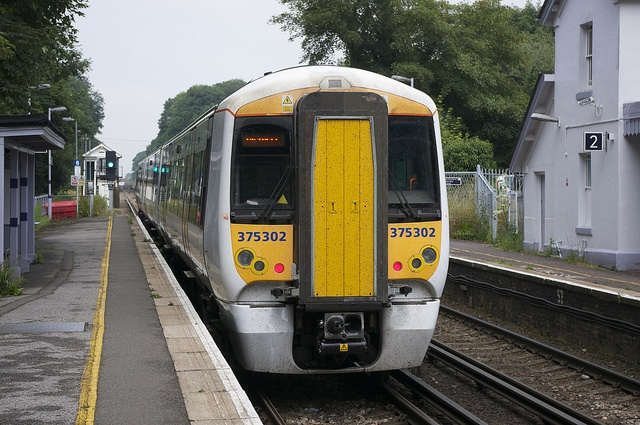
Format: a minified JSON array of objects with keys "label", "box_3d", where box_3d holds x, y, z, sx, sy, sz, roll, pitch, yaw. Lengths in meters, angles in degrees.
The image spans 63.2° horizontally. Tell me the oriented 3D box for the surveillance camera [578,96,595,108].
[{"label":"surveillance camera","box_3d":[8.707,-3.596,17.092,0.270,0.334,0.784,0,2,0]}]
